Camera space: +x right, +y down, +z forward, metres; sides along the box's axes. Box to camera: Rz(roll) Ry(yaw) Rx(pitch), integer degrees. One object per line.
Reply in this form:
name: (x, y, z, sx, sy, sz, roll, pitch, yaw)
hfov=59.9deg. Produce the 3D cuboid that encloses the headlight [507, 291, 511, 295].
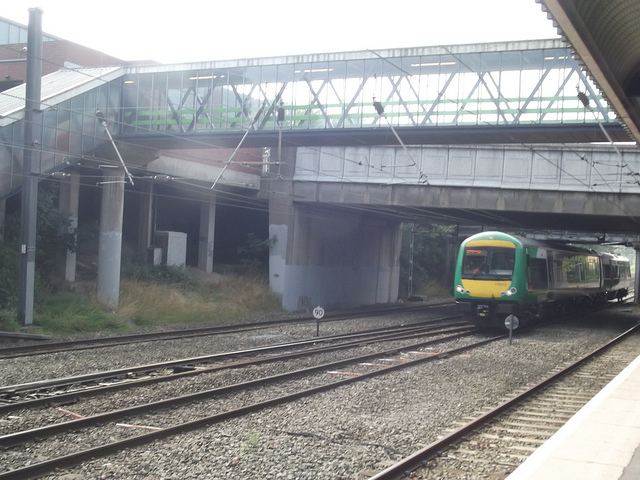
headlight: (7.553, 2.115, 22.225, 0.117, 0.123, 0.029, -2, -3, -8)
